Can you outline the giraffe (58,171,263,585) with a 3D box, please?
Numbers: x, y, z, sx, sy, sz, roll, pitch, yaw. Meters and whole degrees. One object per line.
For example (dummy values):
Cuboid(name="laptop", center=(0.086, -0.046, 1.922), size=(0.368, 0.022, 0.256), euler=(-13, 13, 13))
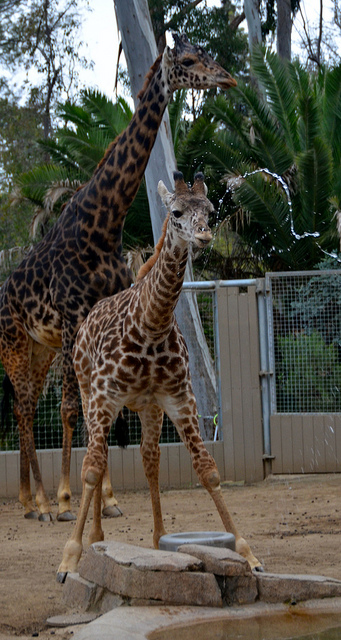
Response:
Cuboid(name="giraffe", center=(-0.226, 0.376, 4.983), size=(0.755, 2.022, 2.142), euler=(2, -7, -18))
